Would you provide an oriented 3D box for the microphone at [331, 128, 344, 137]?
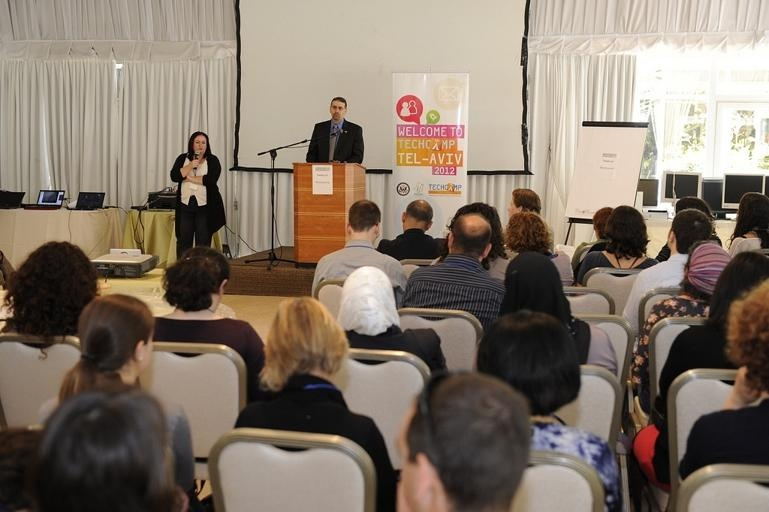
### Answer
[{"bbox_3d":[-0.521,-1.368,6.887,0.079,0.061,0.146,-7,6,-25],"label":"microphone"}]

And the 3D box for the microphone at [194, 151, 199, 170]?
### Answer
[{"bbox_3d":[-2.202,-1.111,7.230,0.080,0.172,0.043,-2,-12,18],"label":"microphone"}]

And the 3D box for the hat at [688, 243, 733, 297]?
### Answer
[{"bbox_3d":[1.689,0.038,3.293,0.183,0.262,0.269,-10,13,12],"label":"hat"}]
